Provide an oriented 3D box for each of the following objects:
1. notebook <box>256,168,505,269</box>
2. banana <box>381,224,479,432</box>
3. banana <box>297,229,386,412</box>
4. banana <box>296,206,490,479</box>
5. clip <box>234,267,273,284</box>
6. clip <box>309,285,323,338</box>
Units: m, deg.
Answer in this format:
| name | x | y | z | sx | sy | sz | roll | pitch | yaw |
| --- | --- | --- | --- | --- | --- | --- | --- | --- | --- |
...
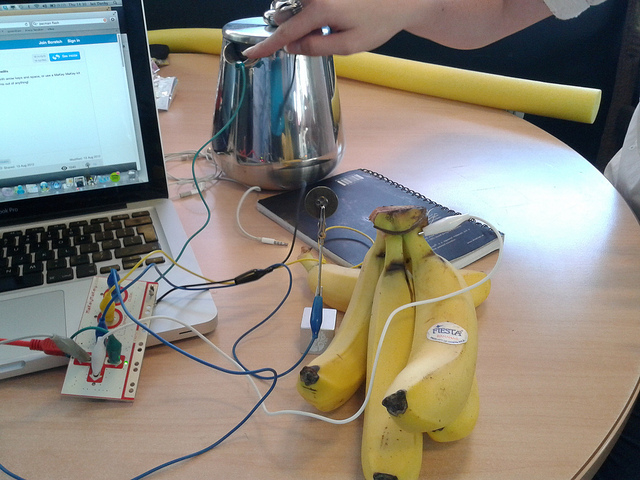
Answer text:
| name | x | y | z | sx | sy | sz | roll | pitch | yaw |
| --- | --- | --- | --- | --- | --- | --- | --- | --- | --- |
| notebook | 0.079 | -0.044 | 0.946 | 0.192 | 0.027 | 0.246 | -20 | 38 | -39 |
| banana | 0.122 | 0.107 | 0.654 | 0.094 | 0.090 | 0.245 | -7 | 45 | 22 |
| banana | 0.083 | 0.068 | 0.752 | 0.064 | 0.132 | 0.308 | 3 | 52 | 28 |
| banana | 0.095 | 0.118 | 0.662 | 0.223 | 0.137 | 0.305 | 13 | 38 | 18 |
| clip | -0.098 | 0.054 | 0.845 | 0.030 | 0.013 | 0.009 | -19 | 72 | -28 |
| clip | -0.005 | 0.094 | 0.745 | 0.010 | 0.011 | 0.065 | 8 | 67 | -2 |
